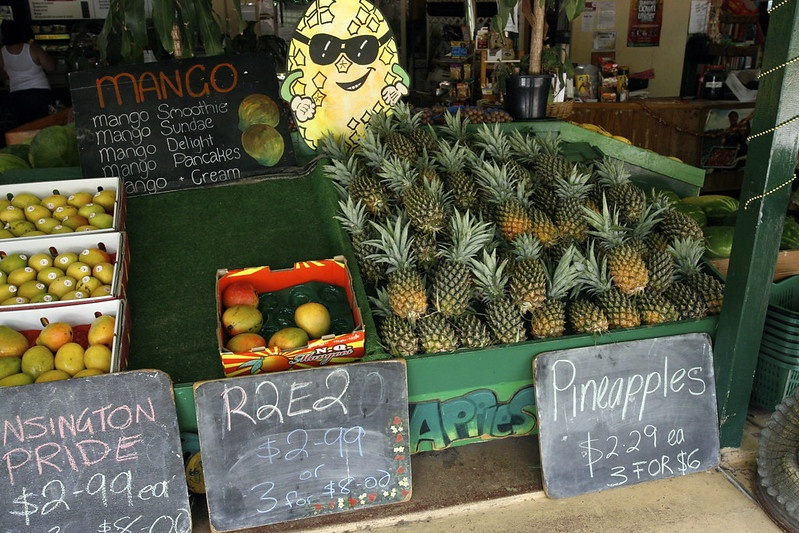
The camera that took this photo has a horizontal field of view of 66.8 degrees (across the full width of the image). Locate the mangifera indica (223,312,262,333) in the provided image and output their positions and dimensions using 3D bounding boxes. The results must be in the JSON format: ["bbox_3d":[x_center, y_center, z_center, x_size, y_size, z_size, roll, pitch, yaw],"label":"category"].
[{"bbox_3d":[-0.842,0.283,3.231,0.157,0.116,0.116,-15,8,-14],"label":"mangifera indica"}]

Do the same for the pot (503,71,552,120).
[{"bbox_3d":[0.914,-1.218,4.285,0.325,0.239,0.332,0,20,0],"label":"pot"}]

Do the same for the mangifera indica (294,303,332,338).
[{"bbox_3d":[-0.480,0.285,3.338,0.188,0.186,0.175,-5,-35,-24],"label":"mangifera indica"}]

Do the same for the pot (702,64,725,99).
[{"bbox_3d":[4.113,-2.384,7.881,0.332,0.387,0.293,-4,22,0],"label":"pot"}]

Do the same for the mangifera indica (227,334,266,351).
[{"bbox_3d":[-0.800,0.402,3.160,0.141,0.108,0.105,-1,-11,-7],"label":"mangifera indica"}]

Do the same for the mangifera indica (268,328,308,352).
[{"bbox_3d":[-0.583,0.387,3.194,0.160,0.122,0.115,-5,-6,-22],"label":"mangifera indica"}]

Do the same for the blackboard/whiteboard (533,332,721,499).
[{"bbox_3d":[1.235,0.837,3.369,0.855,0.620,0.089,-7,3,-10],"label":"blackboard/whiteboard"}]

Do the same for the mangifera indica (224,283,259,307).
[{"bbox_3d":[-0.876,0.159,3.328,0.147,0.142,0.141,-4,-17,-4],"label":"mangifera indica"}]

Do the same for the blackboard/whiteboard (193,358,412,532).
[{"bbox_3d":[-0.530,0.910,3.160,0.911,0.661,0.099,-4,5,-12],"label":"blackboard/whiteboard"}]
